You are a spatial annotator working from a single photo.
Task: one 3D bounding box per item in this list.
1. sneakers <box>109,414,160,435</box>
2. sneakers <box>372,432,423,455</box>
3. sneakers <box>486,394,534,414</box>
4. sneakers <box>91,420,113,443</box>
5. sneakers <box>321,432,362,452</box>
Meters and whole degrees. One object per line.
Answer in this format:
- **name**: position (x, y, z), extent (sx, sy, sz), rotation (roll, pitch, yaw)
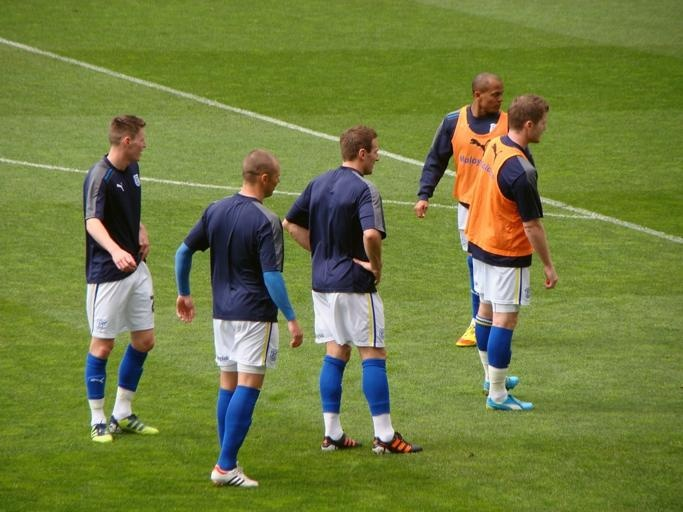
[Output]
- **sneakers**: position (-2.361, 1.901, 16.426), extent (0.615, 0.263, 0.215), rotation (1, -3, -2)
- **sneakers**: position (0.585, 2.087, 16.165), extent (0.620, 0.260, 0.210), rotation (1, -3, -5)
- **sneakers**: position (1.944, 1.708, 16.810), extent (0.567, 0.215, 0.199), rotation (0, 0, -1)
- **sneakers**: position (-2.684, 1.965, 16.244), extent (0.254, 0.195, 0.187), rotation (5, 10, -10)
- **sneakers**: position (-0.021, 2.071, 16.272), extent (0.502, 0.213, 0.166), rotation (-2, 2, -19)
